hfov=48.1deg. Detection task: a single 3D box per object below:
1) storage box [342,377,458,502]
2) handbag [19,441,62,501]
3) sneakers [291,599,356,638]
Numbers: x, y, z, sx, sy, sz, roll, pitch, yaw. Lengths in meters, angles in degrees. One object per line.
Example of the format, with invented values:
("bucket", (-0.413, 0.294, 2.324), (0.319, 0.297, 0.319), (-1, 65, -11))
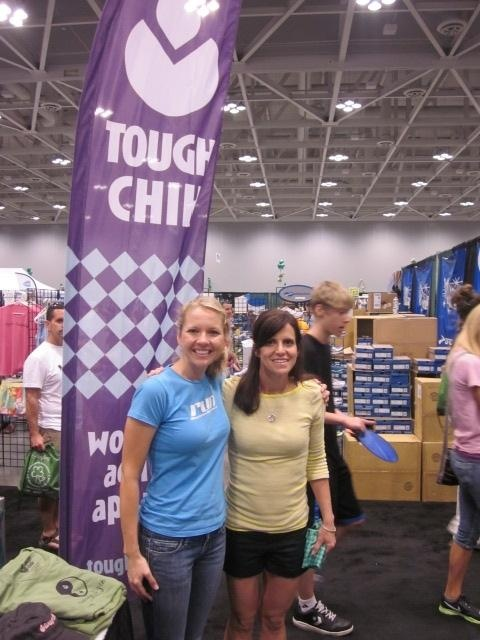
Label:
("storage box", (1.292, 1.137, 4.440), (0.864, 1.194, 1.256), (2, -2, 11))
("handbag", (-1.127, 0.866, 3.028), (0.206, 0.290, 0.274), (2, -2, -21))
("sneakers", (0.373, 1.372, 2.508), (0.313, 0.154, 0.116), (5, -4, 5))
